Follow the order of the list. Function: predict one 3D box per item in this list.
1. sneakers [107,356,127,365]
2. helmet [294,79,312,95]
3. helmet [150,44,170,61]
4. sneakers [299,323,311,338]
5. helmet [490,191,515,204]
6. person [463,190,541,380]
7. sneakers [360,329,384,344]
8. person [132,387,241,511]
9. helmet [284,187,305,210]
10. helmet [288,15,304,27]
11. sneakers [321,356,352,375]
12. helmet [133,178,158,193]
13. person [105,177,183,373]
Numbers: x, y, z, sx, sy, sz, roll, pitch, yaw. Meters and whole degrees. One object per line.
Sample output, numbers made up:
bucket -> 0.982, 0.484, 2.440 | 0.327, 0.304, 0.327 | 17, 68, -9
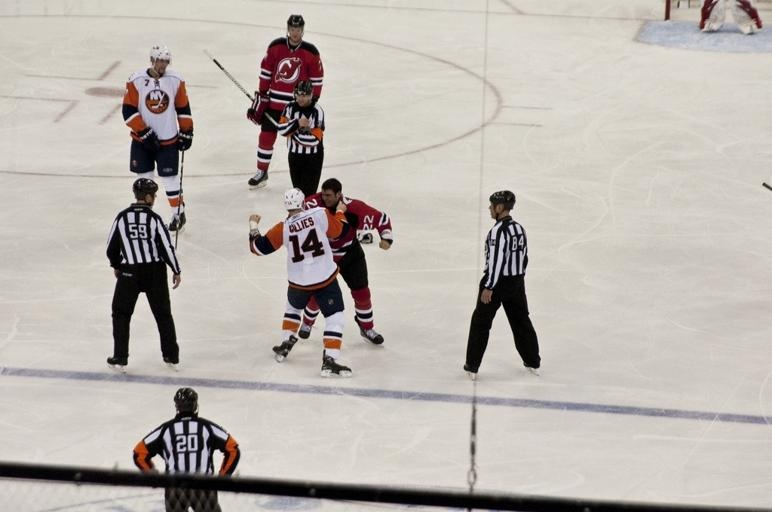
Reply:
sneakers -> -2.723, 1.055, 12.906 | 0.192, 0.075, 0.082 | 12, 38, 6
helmet -> -0.979, -1.977, 14.952 | 0.155, 0.179, 0.166 | 2, 3, 11
helmet -> -2.575, -2.319, 14.640 | 0.254, 0.213, 0.165 | -8, 55, 0
sneakers -> -0.863, 0.791, 13.543 | 0.078, 0.189, 0.082 | 24, -13, -13
helmet -> 1.160, -0.598, 12.887 | 0.223, 0.101, 0.158 | 1, 8, 13
person -> 1.253, 0.285, 12.932 | 0.774, 1.841, 0.683 | 7, 22, 9
sneakers -> -0.155, 0.829, 13.521 | 0.289, 0.117, 0.104 | 24, 57, 40
person -> -1.780, 1.751, 11.082 | 0.830, 1.149, 0.624 | 9, 22, 16
helmet -> -0.923, -0.586, 12.896 | 0.190, 0.184, 0.221 | 3, 20, 9
helmet -> -1.125, -2.903, 15.830 | 0.200, 0.093, 0.253 | 1, 23, -2
sneakers -> -0.530, 1.114, 12.920 | 0.357, 0.236, 0.143 | -5, 16, -5
helmet -> -2.432, -0.675, 12.886 | 0.237, 0.167, 0.152 | -12, 47, -13
person -> -2.452, 0.199, 12.891 | 0.704, 1.851, 0.626 | 0, 22, -9
